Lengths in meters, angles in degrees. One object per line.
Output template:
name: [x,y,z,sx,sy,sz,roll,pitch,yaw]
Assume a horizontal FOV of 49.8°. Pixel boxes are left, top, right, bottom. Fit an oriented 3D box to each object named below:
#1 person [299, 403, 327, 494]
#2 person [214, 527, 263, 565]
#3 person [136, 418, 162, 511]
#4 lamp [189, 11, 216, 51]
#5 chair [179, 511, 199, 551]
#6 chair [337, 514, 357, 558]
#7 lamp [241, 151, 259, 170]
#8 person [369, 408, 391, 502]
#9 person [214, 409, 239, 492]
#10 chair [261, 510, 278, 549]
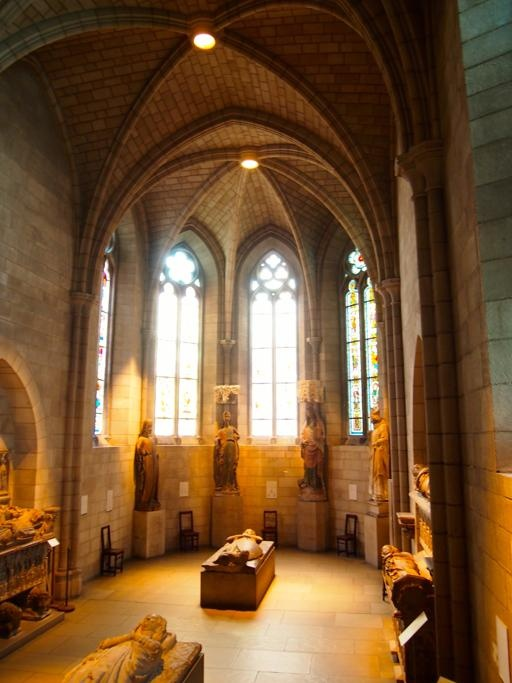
person: [1.205,2.218,11.538,0.539,1.889,0.558,-3,-10,3]
person: [-0.231,2.860,7.619,0.559,0.303,1.015,-3,-10,7]
person: [-2.133,2.443,10.786,0.477,1.719,0.435,0,-11,-13]
lamp: [-0.691,-4.035,7.226,0.267,0.238,0.257,3,-9,-11]
chair: [-1.393,3.893,11.391,0.427,0.750,0.563,-1,-10,-7]
chair: [1.782,3.800,10.802,0.452,0.764,0.901,-3,-10,7]
lamp: [-0.136,-3.491,10.622,0.334,0.141,0.424,-2,-10,-2]
person: [2.092,1.979,9.459,0.352,1.594,0.868,-4,-11,10]
person: [-0.603,2.354,11.698,0.464,1.632,0.680,3,-12,-25]
chair: [0.299,3.983,11.696,0.346,0.711,0.607,-2,-10,1]
